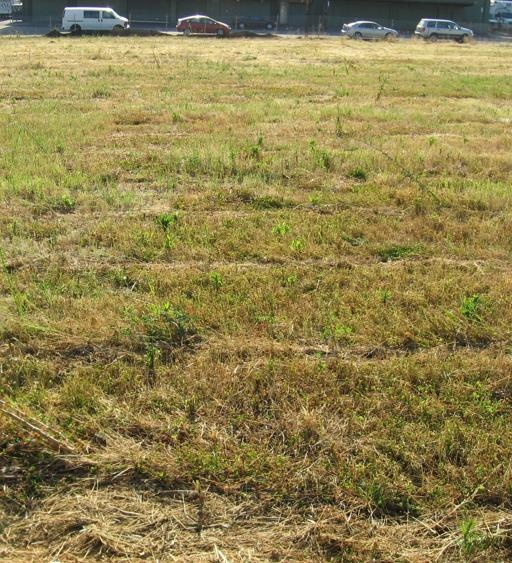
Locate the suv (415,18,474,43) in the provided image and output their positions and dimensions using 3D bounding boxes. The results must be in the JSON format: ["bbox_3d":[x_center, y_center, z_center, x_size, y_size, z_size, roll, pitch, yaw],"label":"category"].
[{"bbox_3d":[8.472,-11.414,48.041,2.104,0.933,1.304,-5,36,-4],"label":"suv"}]

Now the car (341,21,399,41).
[{"bbox_3d":[5.130,-11.120,46.971,2.242,0.843,1.180,-5,35,-8],"label":"car"}]

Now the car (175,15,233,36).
[{"bbox_3d":[-2.453,-11.452,47.090,2.028,0.865,1.151,-5,31,-8],"label":"car"}]

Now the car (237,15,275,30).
[{"bbox_3d":[-0.093,-13.101,54.007,1.945,0.700,1.006,4,45,-6],"label":"car"}]
